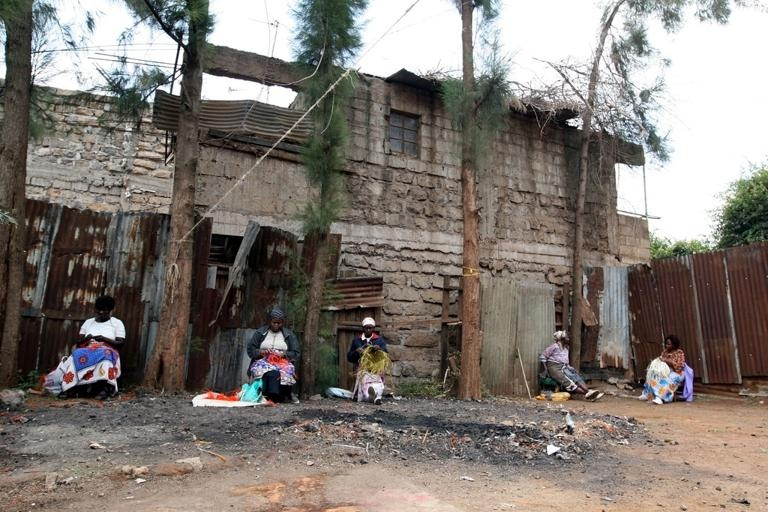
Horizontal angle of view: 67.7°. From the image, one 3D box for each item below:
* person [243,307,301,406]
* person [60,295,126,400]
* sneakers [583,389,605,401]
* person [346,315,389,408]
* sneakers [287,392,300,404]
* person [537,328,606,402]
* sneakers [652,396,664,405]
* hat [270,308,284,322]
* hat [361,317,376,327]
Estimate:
[{"bbox_3d":[-1.937,1.767,9.707,1.041,2.013,1.113,5,-20,-19],"label":"person"},{"bbox_3d":[-4.570,1.421,8.997,0.798,1.563,0.483,2,3,-7],"label":"person"},{"bbox_3d":[4.291,2.964,11.873,0.241,0.170,0.386,-6,-35,-26],"label":"sneakers"},{"bbox_3d":[-0.298,1.872,10.253,0.733,1.411,0.697,3,3,18],"label":"person"},{"bbox_3d":[-1.527,2.413,9.659,0.117,0.105,0.243,4,-9,-25],"label":"sneakers"},{"bbox_3d":[4.074,2.336,12.296,0.737,1.369,1.545,10,-3,-22],"label":"person"},{"bbox_3d":[5.657,2.989,11.805,0.239,0.090,0.301,4,2,25],"label":"sneakers"},{"bbox_3d":[-1.822,1.021,9.810,0.181,0.190,0.209,3,-14,-11],"label":"hat"},{"bbox_3d":[-0.280,1.222,10.525,0.147,0.163,0.202,2,0,-2],"label":"hat"}]
